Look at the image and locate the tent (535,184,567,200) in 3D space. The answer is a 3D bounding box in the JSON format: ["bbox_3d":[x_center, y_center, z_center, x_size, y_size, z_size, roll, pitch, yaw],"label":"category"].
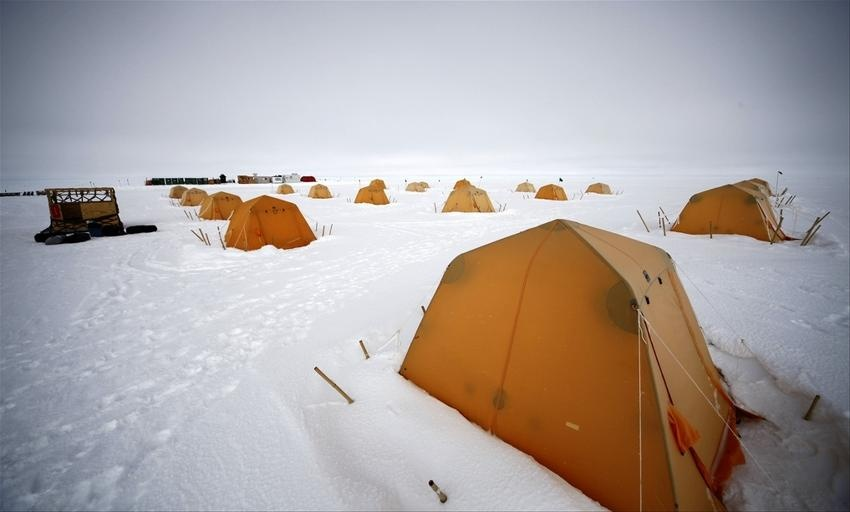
[{"bbox_3d":[8.670,-4.294,28.697,1.657,0.676,1.340,-4,1,-40],"label":"tent"}]

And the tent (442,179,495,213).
[{"bbox_3d":[2.072,-3.262,22.853,2.039,1.231,2.415,-3,6,-11],"label":"tent"}]

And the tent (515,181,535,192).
[{"bbox_3d":[8.446,-5.723,36.357,1.682,0.730,1.648,-2,3,-5],"label":"tent"}]
